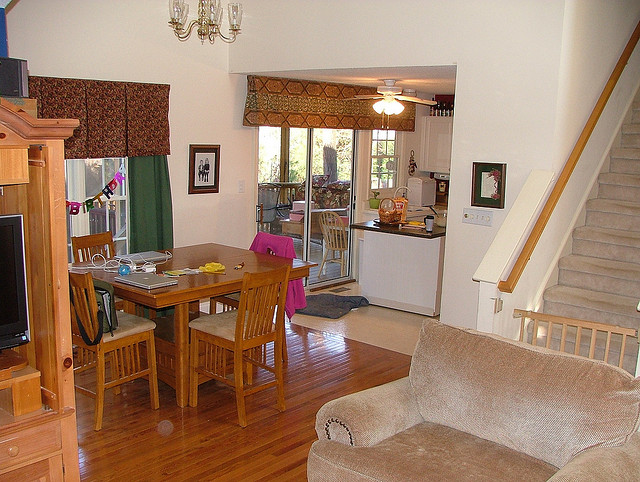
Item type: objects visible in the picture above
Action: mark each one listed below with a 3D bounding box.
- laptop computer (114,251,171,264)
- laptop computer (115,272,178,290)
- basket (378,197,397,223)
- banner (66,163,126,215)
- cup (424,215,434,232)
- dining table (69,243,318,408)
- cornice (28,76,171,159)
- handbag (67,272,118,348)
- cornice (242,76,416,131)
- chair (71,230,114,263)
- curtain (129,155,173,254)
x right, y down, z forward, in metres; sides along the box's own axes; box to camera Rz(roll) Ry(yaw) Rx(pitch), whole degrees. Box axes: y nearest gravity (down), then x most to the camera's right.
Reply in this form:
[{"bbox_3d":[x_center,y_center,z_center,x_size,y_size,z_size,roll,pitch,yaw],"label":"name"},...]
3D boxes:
[{"bbox_3d":[-1.651,0.143,4.581,0.370,0.038,0.481,11,14,35],"label":"laptop computer"},{"bbox_3d":[-1.389,0.306,3.898,0.509,0.042,0.257,10,13,31],"label":"laptop computer"},{"bbox_3d":[0.958,-0.437,6.856,0.282,0.369,0.311,4,6,30],"label":"basket"},{"bbox_3d":[-2.425,-0.555,5.355,0.570,0.523,0.585,-2,13,-20],"label":"banner"},{"bbox_3d":[1.415,-0.226,6.436,0.096,0.173,0.272,5,12,12],"label":"cup"},{"bbox_3d":[-1.274,0.268,4.317,1.677,0.998,1.410,-9,13,-44],"label":"dining table"},{"bbox_3d":[-2.324,-1.307,5.267,1.447,0.823,0.154,-13,33,-42],"label":"cornice"},{"bbox_3d":[-1.612,0.497,3.467,0.328,0.567,0.170,8,17,27],"label":"handbag"},{"bbox_3d":[0.274,-1.929,7.167,2.854,0.635,0.046,-5,25,-30],"label":"cornice"},{"bbox_3d":[-2.183,0.063,4.711,0.219,0.385,0.228,-16,24,-42],"label":"chair"},{"bbox_3d":[-1.979,-0.441,5.712,0.518,1.091,0.267,-7,15,-36],"label":"curtain"}]
